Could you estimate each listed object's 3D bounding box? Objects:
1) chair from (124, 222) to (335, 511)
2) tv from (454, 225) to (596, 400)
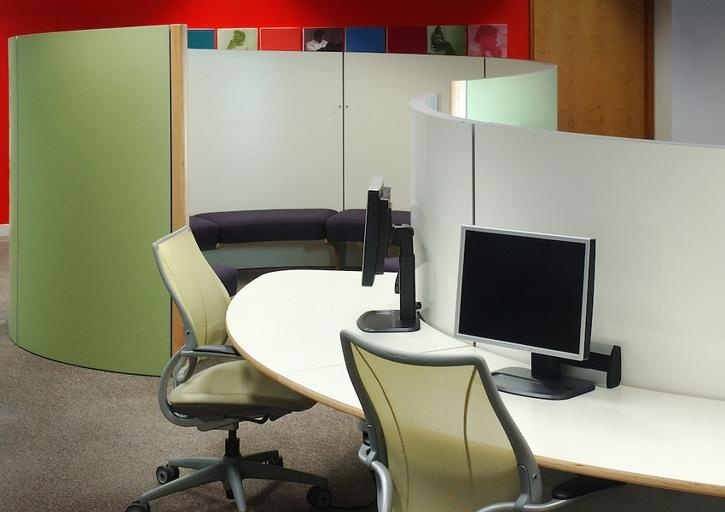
[{"bbox_3d":[-0.805,0.512,3.948,1.196,1.801,1.309,0,6,4],"label":"chair"},{"bbox_3d":[0.655,0.215,2.563,0.588,0.659,0.338,3,5,38],"label":"tv"}]
